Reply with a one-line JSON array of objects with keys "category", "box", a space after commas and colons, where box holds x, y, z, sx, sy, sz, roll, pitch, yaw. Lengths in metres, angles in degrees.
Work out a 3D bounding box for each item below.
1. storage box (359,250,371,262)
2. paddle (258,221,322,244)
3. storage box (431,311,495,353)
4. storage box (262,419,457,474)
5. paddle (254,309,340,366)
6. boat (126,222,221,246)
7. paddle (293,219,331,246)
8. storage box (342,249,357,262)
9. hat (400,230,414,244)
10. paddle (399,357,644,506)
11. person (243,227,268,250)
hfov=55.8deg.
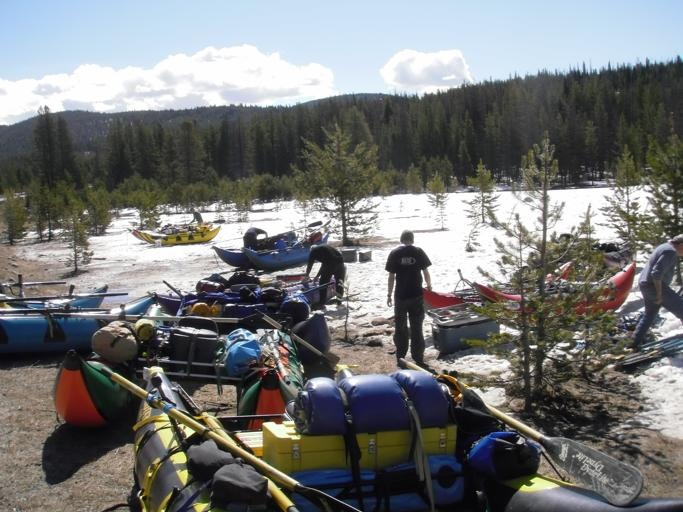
[{"category": "storage box", "box": [0.726, 0.022, 19.895, 0.299, 0.315, 0.318, 0, -7, -2]}, {"category": "paddle", "box": [-2.114, -0.944, 26.323, 0.766, 0.493, 3.410, -33, -1, 21]}, {"category": "storage box", "box": [2.116, 1.247, 11.106, 1.093, 0.658, 0.659, -6, 8, -29]}, {"category": "storage box", "box": [0.148, 1.916, 6.551, 1.891, 0.457, 0.285, -4, 10, -4]}, {"category": "paddle", "box": [-0.664, 1.338, 10.364, 0.832, 0.818, 1.216, -12, 13, -42]}, {"category": "boat", "box": [-7.476, -0.963, 29.258, 2.705, 0.751, 4.668, -10, 12, -34]}, {"category": "paddle", "box": [-0.965, -0.759, 23.153, 0.424, 0.593, 2.425, -23, 5, 9]}, {"category": "storage box", "box": [0.258, -0.020, 20.230, 0.403, 0.306, 0.402, 1, 17, 3]}, {"category": "hat", "box": [1.021, -0.288, 10.128, 0.163, 0.209, 0.218, 2, 11, 1]}, {"category": "paddle", "box": [2.055, 2.011, 7.256, 3.086, 0.415, 0.106, 31, -5, 40]}, {"category": "person", "box": [-2.921, -0.553, 21.407, 0.834, 0.785, 0.614, 8, -7, -35]}]
